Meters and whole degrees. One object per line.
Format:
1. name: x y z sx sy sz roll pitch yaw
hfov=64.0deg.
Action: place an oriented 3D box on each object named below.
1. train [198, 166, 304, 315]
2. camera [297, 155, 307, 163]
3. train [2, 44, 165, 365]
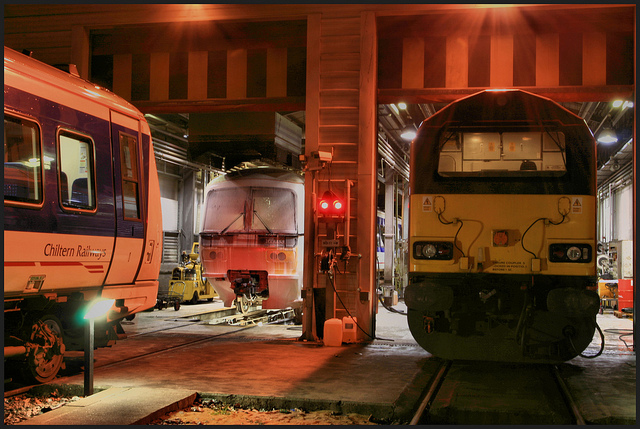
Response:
1. train: -1.992 0.430 17.710 2.652 4.135 8.436 1 3 -1
2. camera: -0.373 -1.182 10.868 0.144 0.109 0.146 1 -1 6
3. train: -3.772 -0.081 7.855 0.661 4.637 2.724 -4 -6 24
